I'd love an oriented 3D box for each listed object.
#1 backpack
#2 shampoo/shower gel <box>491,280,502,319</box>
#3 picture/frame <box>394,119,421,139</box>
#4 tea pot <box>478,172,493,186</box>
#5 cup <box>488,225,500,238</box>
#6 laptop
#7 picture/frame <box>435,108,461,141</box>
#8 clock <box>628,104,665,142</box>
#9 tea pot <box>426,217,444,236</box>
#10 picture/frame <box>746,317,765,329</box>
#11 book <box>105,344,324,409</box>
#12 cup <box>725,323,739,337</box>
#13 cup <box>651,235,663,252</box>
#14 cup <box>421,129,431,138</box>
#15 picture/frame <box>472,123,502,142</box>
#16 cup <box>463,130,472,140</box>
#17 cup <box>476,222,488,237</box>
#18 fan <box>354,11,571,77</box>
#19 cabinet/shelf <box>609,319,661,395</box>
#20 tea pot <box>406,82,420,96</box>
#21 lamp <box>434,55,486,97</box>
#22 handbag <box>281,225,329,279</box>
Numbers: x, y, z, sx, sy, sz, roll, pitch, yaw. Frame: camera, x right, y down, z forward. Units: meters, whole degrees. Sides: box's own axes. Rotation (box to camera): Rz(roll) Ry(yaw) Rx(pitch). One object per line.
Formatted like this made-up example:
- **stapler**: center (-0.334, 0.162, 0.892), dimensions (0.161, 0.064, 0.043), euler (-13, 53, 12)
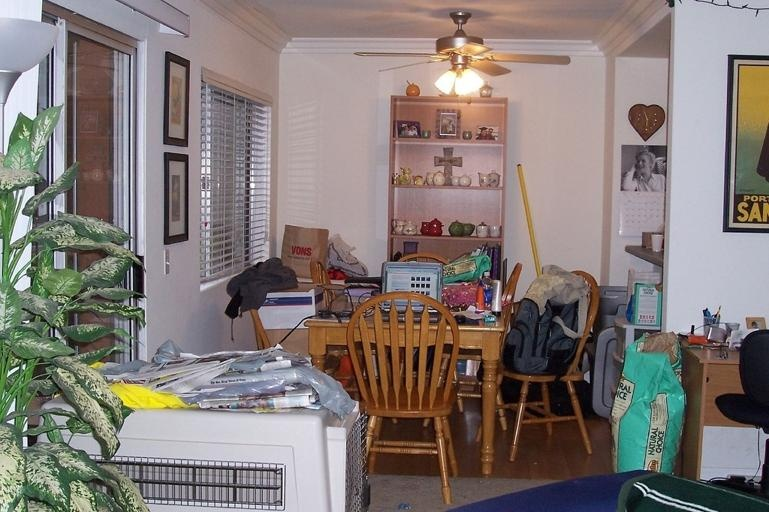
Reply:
- **backpack**: center (1.098, 0.420, 4.083), dimensions (0.478, 0.679, 0.246), euler (22, 8, 16)
- **shampoo/shower gel**: center (0.732, 0.268, 4.012), dimensions (0.060, 0.216, 0.101), euler (1, 9, 8)
- **picture/frame**: center (0.223, -1.144, 5.609), dimensions (0.292, 0.196, 0.149), euler (2, 8, 1)
- **tea pot**: center (0.927, -0.710, 5.621), dimensions (0.086, 0.100, 0.136), euler (-2, -5, 18)
- **cup**: center (1.013, -0.231, 5.594), dimensions (0.102, 0.100, 0.073), euler (2, 9, 13)
- **laptop**: center (0.186, 0.208, 3.783), dimensions (0.397, 0.377, 0.314), euler (0, -3, 6)
- **picture/frame**: center (0.588, -1.217, 5.622), dimensions (0.301, 0.364, 0.024), euler (2, 0, -1)
- **clock**: center (2.308, -1.193, 5.383), dimensions (0.331, 0.329, 0.047), euler (1, 8, 15)
- **tea pot**: center (0.497, -0.281, 5.703), dimensions (0.106, 0.160, 0.253), euler (3, 9, 23)
- **picture/frame**: center (2.267, 0.404, 3.752), dimensions (0.084, 0.006, 0.085), euler (-5, 43, 6)
- **book**: center (-0.634, 0.486, 2.474), dimensions (1.041, 0.209, 0.500), euler (0, 9, 1)
- **cup**: center (2.061, 0.434, 3.646), dimensions (0.072, 0.061, 0.077), euler (1, -2, 0)
- **cup**: center (2.013, -0.104, 4.523), dimensions (0.126, 0.114, 0.081), euler (6, -6, -44)
- **cup**: center (0.386, -1.129, 5.616), dimensions (0.080, 0.086, 0.117), euler (1, 9, 9)
- **picture/frame**: center (0.947, -1.134, 5.592), dimensions (0.249, 0.169, 0.057), euler (-1, -7, 2)
- **cup**: center (0.761, -1.104, 5.577), dimensions (0.081, 0.076, 0.062), euler (-1, 9, -3)
- **cup**: center (0.891, -0.250, 5.624), dimensions (0.107, 0.134, 0.109), euler (0, -1, 0)
- **fan**: center (0.538, -1.566, 4.490), dimensions (1.443, 0.431, 1.552), euler (-2, 14, -10)
- **cabinet/shelf**: center (1.724, 0.745, 4.404), dimensions (0.244, 0.622, 0.467), euler (-1, 9, -8)
- **tea pot**: center (0.265, -1.547, 5.659), dimensions (0.131, 0.157, 0.301), euler (0, 9, 4)
- **lamp**: center (0.576, -1.422, 4.714), dimensions (0.455, 0.248, 0.451), euler (4, 32, 2)
- **handbag**: center (-0.680, -0.031, 5.351), dimensions (0.428, 0.409, 0.151), euler (5, 7, 8)
